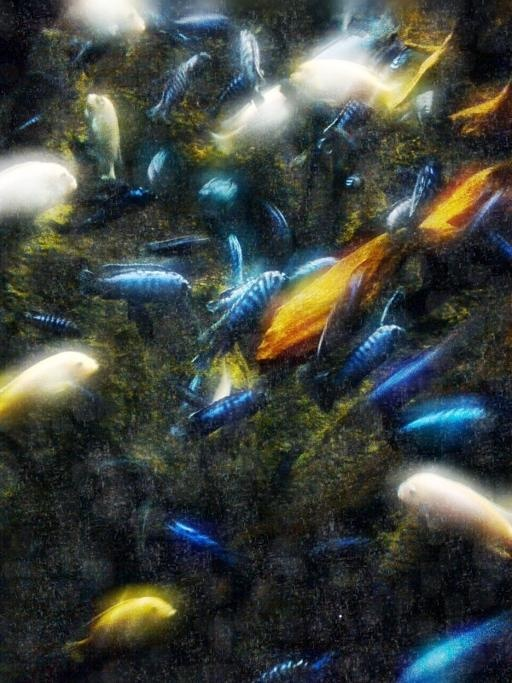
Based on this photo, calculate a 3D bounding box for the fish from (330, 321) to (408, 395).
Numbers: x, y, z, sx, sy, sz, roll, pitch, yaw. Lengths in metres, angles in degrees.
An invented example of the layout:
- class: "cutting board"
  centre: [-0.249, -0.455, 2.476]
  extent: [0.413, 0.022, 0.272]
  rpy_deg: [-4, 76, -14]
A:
- class: "fish"
  centre: [0.188, 0.025, 1.846]
  extent: [0.103, 0.110, 0.091]
  rpy_deg: [-23, 34, -38]

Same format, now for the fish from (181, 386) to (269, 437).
- class: "fish"
  centre: [-0.049, 0.118, 1.840]
  extent: [0.172, 0.047, 0.053]
  rpy_deg: [-23, 64, -1]

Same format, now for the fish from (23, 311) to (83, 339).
- class: "fish"
  centre: [-0.354, -0.032, 1.888]
  extent: [0.118, 0.041, 0.037]
  rpy_deg: [15, 23, 3]

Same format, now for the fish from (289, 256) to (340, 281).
- class: "fish"
  centre: [0.102, -0.126, 1.866]
  extent: [0.069, 0.015, 0.017]
  rpy_deg: [-24, 70, -19]
